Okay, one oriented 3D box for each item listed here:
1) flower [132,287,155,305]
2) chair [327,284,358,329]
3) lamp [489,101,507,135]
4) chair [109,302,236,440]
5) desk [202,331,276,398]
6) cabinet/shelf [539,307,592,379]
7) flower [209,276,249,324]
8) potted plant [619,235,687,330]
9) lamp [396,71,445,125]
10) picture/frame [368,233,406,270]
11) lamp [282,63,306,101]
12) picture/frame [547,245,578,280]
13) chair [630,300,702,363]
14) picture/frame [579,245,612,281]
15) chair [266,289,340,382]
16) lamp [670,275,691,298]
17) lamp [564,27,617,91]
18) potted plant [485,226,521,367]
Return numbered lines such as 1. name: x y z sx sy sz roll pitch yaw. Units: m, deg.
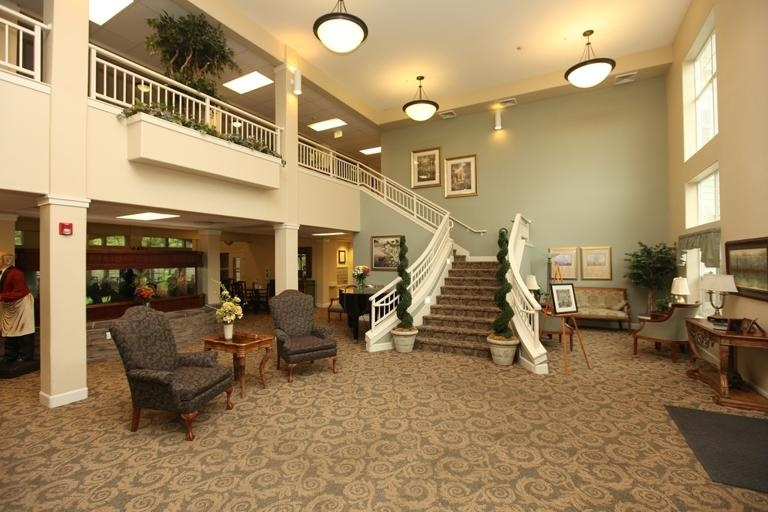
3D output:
1. flower: -6.418 1.079 12.162 0.570 0.549 0.552 0 -4 -6
2. chair: -1.703 1.757 17.702 1.244 1.987 1.457 -2 -7 13
3. lamp: 3.826 -4.652 15.450 0.419 0.877 0.466 3 14 12
4. chair: -3.755 1.982 8.320 1.898 1.965 1.807 2 5 -12
5. desk: -2.887 2.070 9.499 1.230 1.024 1.424 -1 -1 27
6. cabinet/shelf: 4.570 2.023 11.521 1.592 1.981 1.437 -3 -2 8
7. flower: -3.197 1.103 9.334 0.506 0.588 0.495 2 -6 -45
8. potted plant: 8.096 0.556 12.938 1.967 2.778 1.844 -4 5 3
9. lamp: 1.098 -4.813 13.986 1.184 1.326 1.183 -1 -6 7
10. picture/frame: 0.121 -0.149 14.471 1.269 1.229 0.045 1 1 34
11. lamp: -2.368 -4.775 12.493 0.692 0.625 0.334 -2 10 -14
12. picture/frame: 5.660 0.257 14.470 1.147 1.269 0.097 0 -2 20
13. chair: 6.736 1.750 10.966 1.038 1.267 1.201 -2 1 -36
14. picture/frame: 6.574 0.226 14.151 1.137 1.257 0.135 0 -3 25
15. chair: -1.846 1.766 10.188 1.115 1.710 1.395 -7 15 -27
16. lamp: 7.226 0.759 11.194 0.542 0.581 0.560 -2 -3 5
17. lamp: 5.362 -5.181 12.007 1.302 1.444 1.287 -4 -7 25
18. potted plant: 2.915 1.105 10.977 0.705 2.480 2.017 4 14 15
